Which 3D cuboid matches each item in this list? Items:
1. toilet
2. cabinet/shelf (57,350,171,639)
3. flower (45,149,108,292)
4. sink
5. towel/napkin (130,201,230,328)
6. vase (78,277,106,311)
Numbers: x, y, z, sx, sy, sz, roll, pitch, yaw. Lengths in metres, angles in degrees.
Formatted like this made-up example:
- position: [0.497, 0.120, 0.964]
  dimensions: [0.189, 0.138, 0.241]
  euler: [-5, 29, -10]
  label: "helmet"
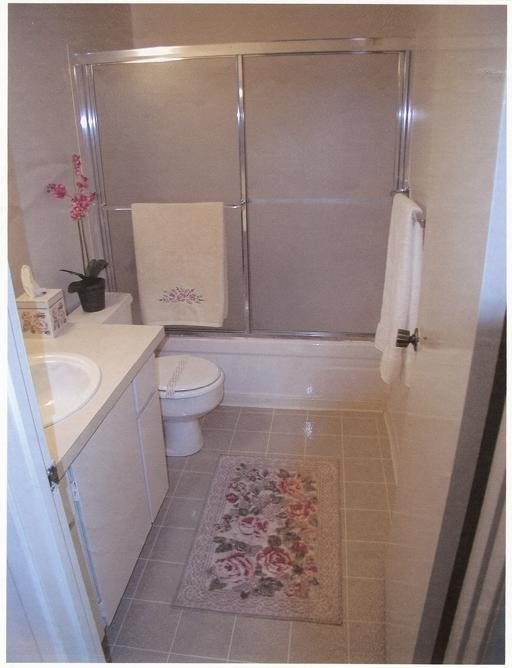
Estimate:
- position: [-0.341, 0.053, 2.227]
  dimensions: [0.684, 0.812, 0.450]
  euler: [2, 35, -2]
  label: "toilet"
- position: [-0.358, 0.402, 1.303]
  dimensions: [0.169, 0.493, 0.549]
  euler: [-1, 36, 4]
  label: "cabinet/shelf"
- position: [-0.648, -0.415, 1.976]
  dimensions: [0.161, 0.527, 0.501]
  euler: [0, 8, -4]
  label: "flower"
- position: [-0.474, 0.133, 1.312]
  dimensions: [0.162, 0.116, 0.408]
  euler: [-3, 9, -25]
  label: "sink"
- position: [-0.301, -0.302, 2.131]
  dimensions: [0.443, 0.633, 0.099]
  euler: [3, 25, 7]
  label: "towel/napkin"
- position: [-0.609, -0.142, 1.940]
  dimensions: [0.093, 0.126, 0.090]
  euler: [-2, 9, -19]
  label: "vase"
